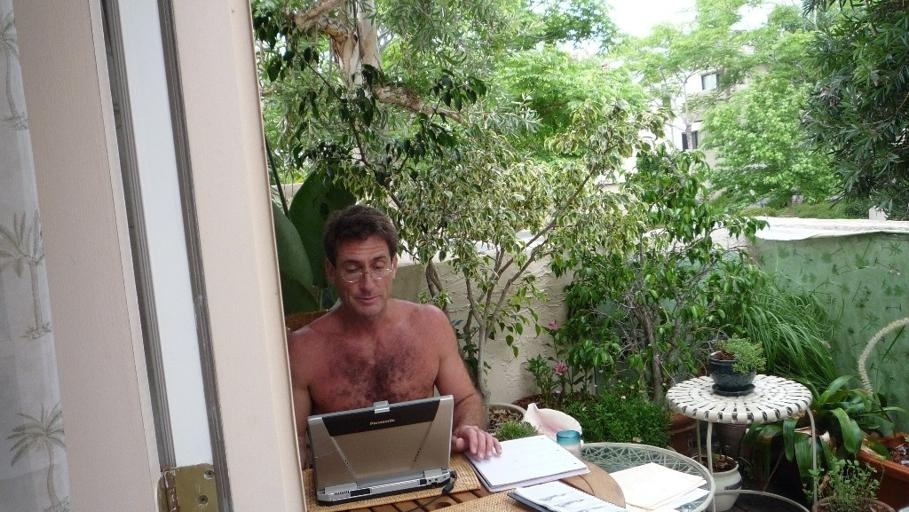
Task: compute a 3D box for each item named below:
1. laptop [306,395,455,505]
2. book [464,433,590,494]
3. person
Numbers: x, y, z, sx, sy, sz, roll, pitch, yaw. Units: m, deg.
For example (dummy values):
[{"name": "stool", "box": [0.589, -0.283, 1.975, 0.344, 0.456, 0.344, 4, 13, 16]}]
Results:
[{"name": "laptop", "box": [-0.246, 0.656, 2.125, 0.473, 0.338, 0.390, -5, 21, -15]}, {"name": "book", "box": [0.261, 0.761, 2.317, 0.393, 0.093, 0.339, -6, 0, -15]}, {"name": "person", "box": [-0.289, 0.369, 2.794, 0.567, 1.310, 0.671, -2, 2, -42]}]
